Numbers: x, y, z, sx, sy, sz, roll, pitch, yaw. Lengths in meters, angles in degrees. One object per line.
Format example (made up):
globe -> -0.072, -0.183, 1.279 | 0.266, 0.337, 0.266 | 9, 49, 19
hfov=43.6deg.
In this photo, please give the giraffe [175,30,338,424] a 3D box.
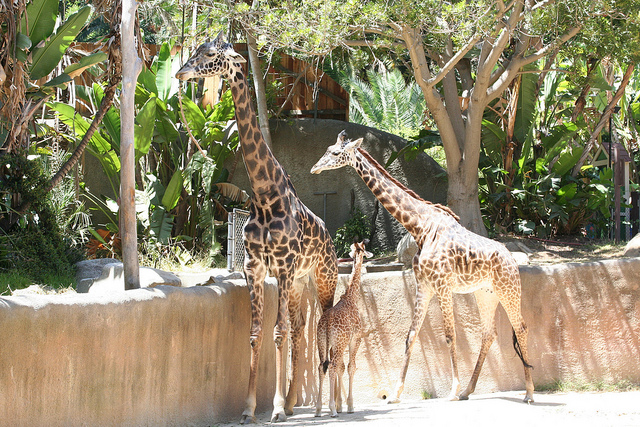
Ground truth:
giraffe -> -0.753, 0.253, 10.465 | 1.777, 4.808, 1.906 | 8, 21, 11
